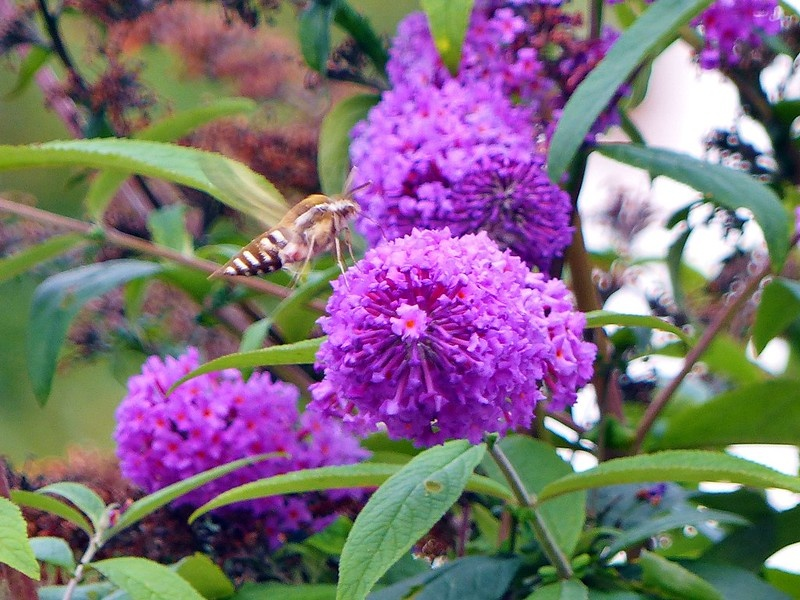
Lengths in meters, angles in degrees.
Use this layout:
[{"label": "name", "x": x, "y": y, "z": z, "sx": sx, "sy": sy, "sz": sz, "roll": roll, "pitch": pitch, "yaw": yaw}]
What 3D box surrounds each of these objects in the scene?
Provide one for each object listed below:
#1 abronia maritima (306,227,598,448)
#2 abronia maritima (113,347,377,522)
[{"label": "abronia maritima", "x": 0.078, "y": 0.104, "z": 2.129, "sx": 0.451, "sy": 0.339, "sz": 0.399, "roll": -3, "pitch": 40, "yaw": -10}, {"label": "abronia maritima", "x": -0.346, "y": 0.294, "z": 2.475, "sx": 0.455, "sy": 0.254, "sz": 0.383, "roll": 9, "pitch": 6, "yaw": -32}]
